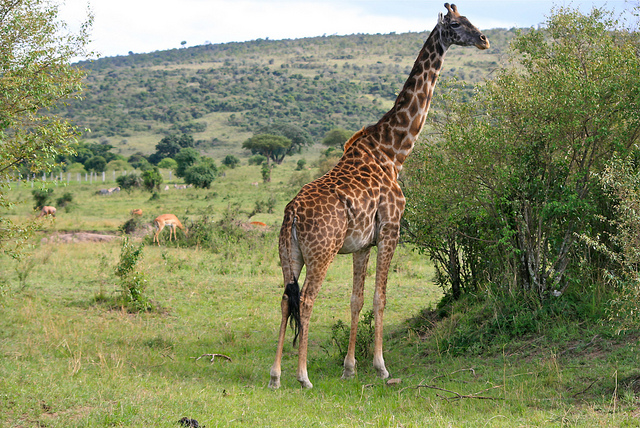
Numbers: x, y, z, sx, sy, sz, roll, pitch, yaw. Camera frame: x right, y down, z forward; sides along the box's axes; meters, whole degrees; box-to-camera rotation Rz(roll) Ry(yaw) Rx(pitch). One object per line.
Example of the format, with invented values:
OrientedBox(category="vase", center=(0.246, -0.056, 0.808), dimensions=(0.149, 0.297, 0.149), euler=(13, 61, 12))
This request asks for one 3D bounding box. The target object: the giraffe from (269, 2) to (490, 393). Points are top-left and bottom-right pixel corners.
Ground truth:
OrientedBox(category="giraffe", center=(0.805, -0.423, 18.276), dimensions=(1.829, 7.872, 4.334), euler=(13, 16, 43))
